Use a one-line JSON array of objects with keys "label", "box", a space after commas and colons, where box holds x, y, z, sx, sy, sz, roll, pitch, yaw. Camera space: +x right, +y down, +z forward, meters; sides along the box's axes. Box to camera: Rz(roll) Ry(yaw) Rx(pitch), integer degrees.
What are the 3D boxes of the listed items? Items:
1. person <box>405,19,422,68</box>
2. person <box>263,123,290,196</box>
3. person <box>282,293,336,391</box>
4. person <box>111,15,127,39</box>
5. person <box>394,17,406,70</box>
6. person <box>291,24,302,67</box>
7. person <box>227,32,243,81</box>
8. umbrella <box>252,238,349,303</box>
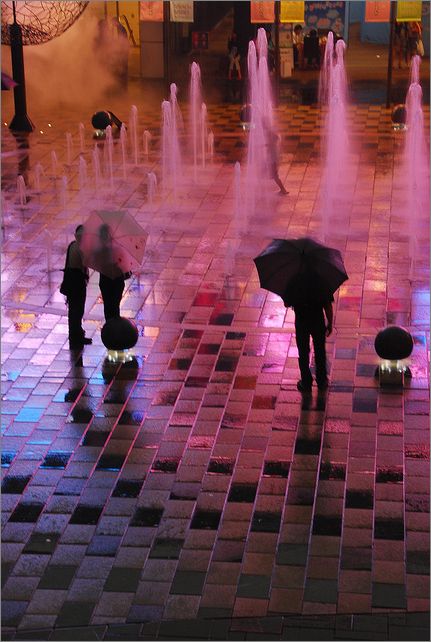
[{"label": "person", "box": [6.859, -9.541, 19.350, 0.702, 1.390, 0.404, -9, 16, -27]}, {"label": "person", "box": [1.173, -3.159, 10.866, 0.488, 1.390, 1.204, 0, 15, 5]}, {"label": "person", "box": [0.877, 0.196, 5.025, 0.317, 0.926, 0.530, 2, 15, 12]}, {"label": "person", "box": [-3.176, -9.658, 18.536, 0.439, 0.756, 0.859, -4, 16, -10]}, {"label": "person", "box": [6.497, -9.644, 19.789, 0.387, 1.590, 1.778, 3, 16, 16]}, {"label": "person", "box": [2.860, -9.526, 19.522, 0.307, 1.430, 0.773, 0, 15, 8]}, {"label": "person", "box": [0.614, -8.396, 17.886, 0.443, 1.408, 0.246, -2, 14, 0]}, {"label": "umbrella", "box": [0.718, -0.415, 4.782, 0.746, 0.517, 0.387, -1, 15, 3]}]
